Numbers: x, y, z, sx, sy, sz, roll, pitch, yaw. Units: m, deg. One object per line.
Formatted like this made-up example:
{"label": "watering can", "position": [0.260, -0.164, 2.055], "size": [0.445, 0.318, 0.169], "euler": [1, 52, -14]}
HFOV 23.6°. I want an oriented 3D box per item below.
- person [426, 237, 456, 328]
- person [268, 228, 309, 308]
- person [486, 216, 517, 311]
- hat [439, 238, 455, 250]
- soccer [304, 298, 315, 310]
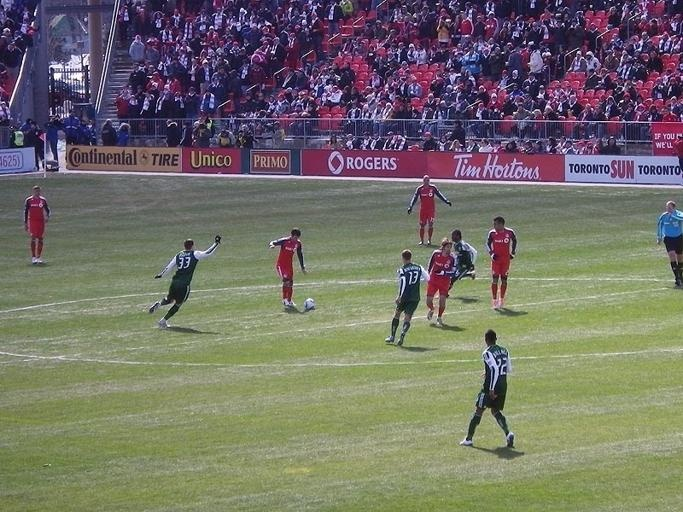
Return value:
{"label": "person", "position": [3.101, 0.767, 51.200], "size": [1.073, 2.505, 0.793], "euler": [0, 13, 3]}
{"label": "person", "position": [-1.722, 0.333, 53.400], "size": [1.336, 2.465, 1.068], "euler": [-4, 17, -19]}
{"label": "person", "position": [5.171, 0.188, 52.599], "size": [1.165, 2.833, 0.757], "euler": [3, -4, -28]}
{"label": "hat", "position": [3.262, -0.401, 50.761], "size": [0.387, 0.336, 0.309], "euler": [2, 1, 44]}
{"label": "soccer", "position": [-1.029, 1.528, 52.983], "size": [0.370, 0.317, 0.668], "euler": [-3, 10, -1]}
